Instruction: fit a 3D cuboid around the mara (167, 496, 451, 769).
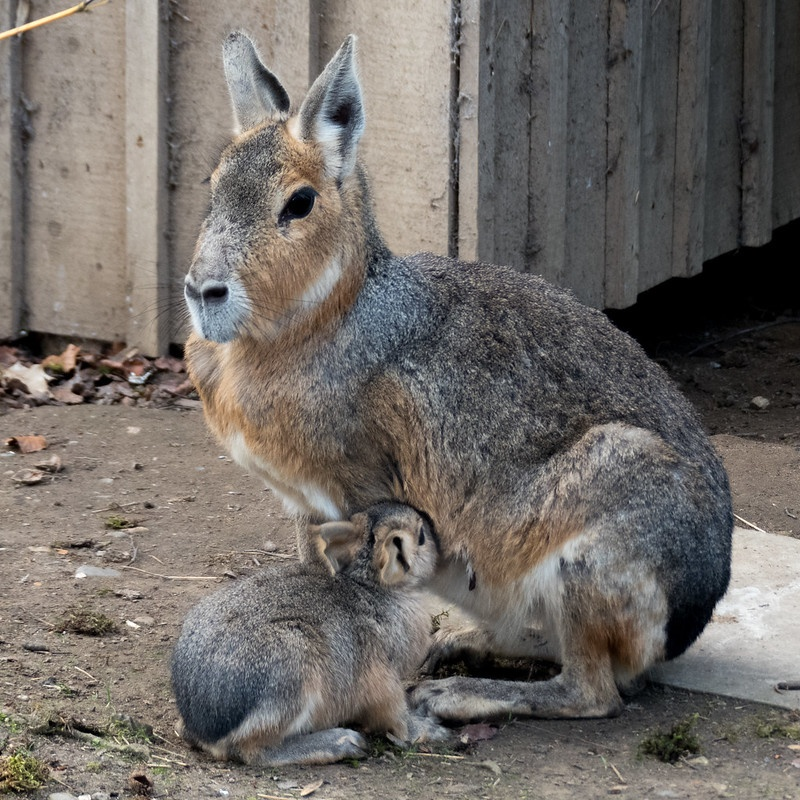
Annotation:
[{"bbox_3d":[-0.295,0.805,4.702,1.014,0.923,0.652,-3,2,-25],"label":"mara"}]
